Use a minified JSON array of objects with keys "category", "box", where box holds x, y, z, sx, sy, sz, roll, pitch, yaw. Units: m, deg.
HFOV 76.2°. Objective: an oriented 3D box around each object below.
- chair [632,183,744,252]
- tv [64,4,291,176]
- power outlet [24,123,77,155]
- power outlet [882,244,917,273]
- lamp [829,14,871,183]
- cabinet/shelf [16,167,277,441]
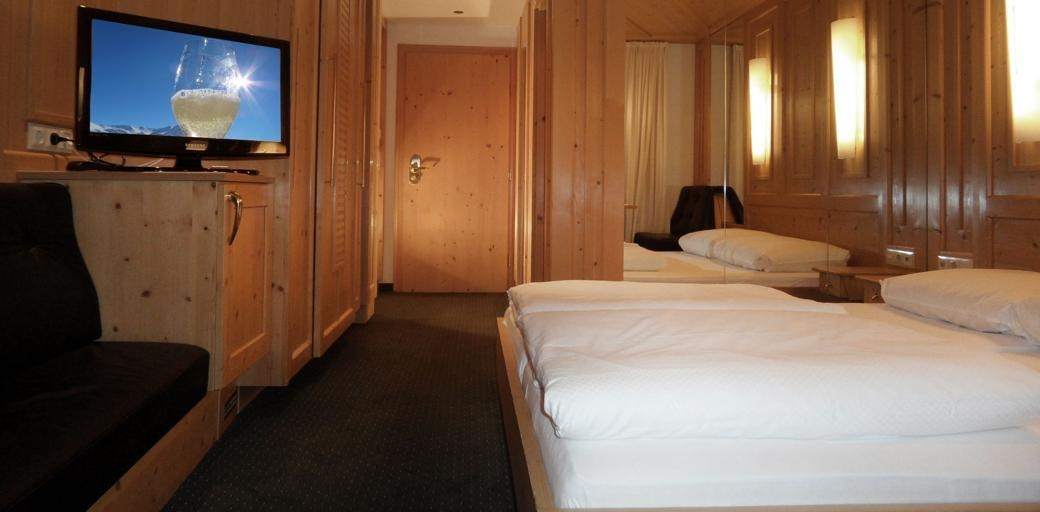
[{"category":"chair","box":[1.417,-0.322,5.578,0.661,0.528,0.595,2,9,-4]},{"category":"tv","box":[-2.034,-0.952,3.872,1.356,0.800,0.168,1,-4,-20]},{"category":"power outlet","box":[-2.667,-0.664,3.753,0.034,0.142,0.233,2,1,24]},{"category":"power outlet","box":[2.516,-0.008,4.434,0.153,0.202,0.262,-1,3,-19]},{"category":"lamp","box":[2.309,-1.119,4.648,0.135,1.084,0.337,-6,10,-21]},{"category":"cabinet/shelf","box":[-2.260,0.232,4.019,1.372,1.408,1.030,1,1,-13]}]
